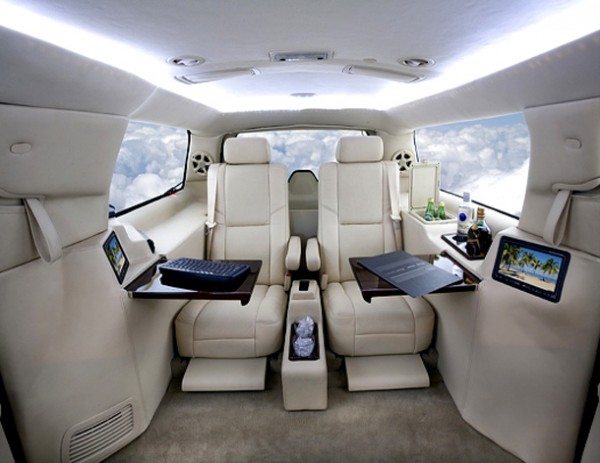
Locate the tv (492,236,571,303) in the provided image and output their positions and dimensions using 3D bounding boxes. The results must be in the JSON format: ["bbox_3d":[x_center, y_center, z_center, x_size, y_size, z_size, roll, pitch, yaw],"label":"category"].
[{"bbox_3d":[1.071,0.175,1.794,0.031,0.215,0.265,2,14,-33],"label":"tv"}]

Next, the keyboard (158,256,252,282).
[{"bbox_3d":[-0.476,0.192,2.000,0.315,0.070,0.184,3,10,2],"label":"keyboard"}]

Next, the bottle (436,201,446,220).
[{"bbox_3d":[0.954,-0.142,2.632,0.065,0.112,0.114,3,10,18],"label":"bottle"}]

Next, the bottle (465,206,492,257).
[{"bbox_3d":[0.984,0.031,2.153,0.122,0.218,0.148,5,11,26],"label":"bottle"}]

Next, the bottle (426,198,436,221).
[{"bbox_3d":[0.878,-0.152,2.623,0.059,0.132,0.153,3,10,19],"label":"bottle"}]
